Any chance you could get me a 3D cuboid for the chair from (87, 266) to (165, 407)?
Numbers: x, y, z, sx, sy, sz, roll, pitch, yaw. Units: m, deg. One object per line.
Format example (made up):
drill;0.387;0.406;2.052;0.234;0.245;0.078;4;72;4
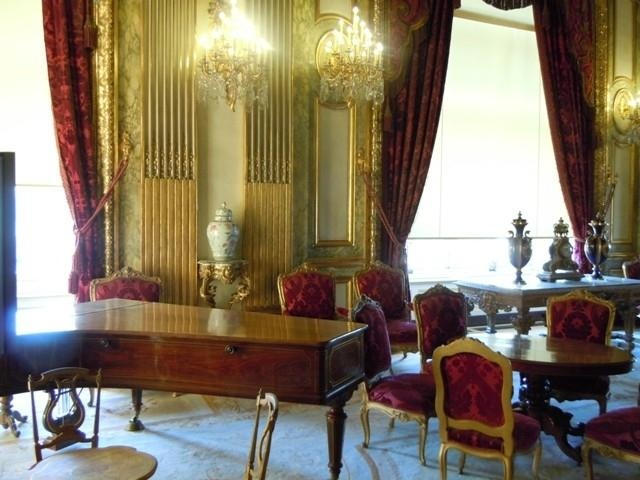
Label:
chair;-1.660;0.868;4.823;0.706;1.360;0.805;-2;0;-25
